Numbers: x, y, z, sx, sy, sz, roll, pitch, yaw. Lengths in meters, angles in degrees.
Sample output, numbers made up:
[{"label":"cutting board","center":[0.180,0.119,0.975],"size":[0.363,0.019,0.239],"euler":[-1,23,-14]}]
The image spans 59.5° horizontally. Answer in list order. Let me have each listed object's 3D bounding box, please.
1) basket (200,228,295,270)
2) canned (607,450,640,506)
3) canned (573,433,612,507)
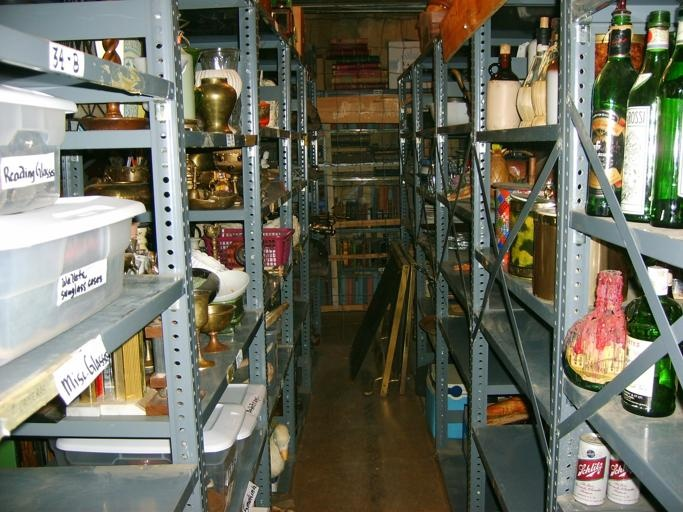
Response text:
[{"label":"basket","center":[-0.430,-0.044,2.846],"size":[0.297,0.131,0.213],"euler":[0,4,-1]},{"label":"canned","center":[0.765,0.603,1.611],"size":[0.110,0.146,0.044],"euler":[-5,13,-19]},{"label":"canned","center":[0.666,0.571,1.593],"size":[0.080,0.180,0.065],"euler":[6,13,27]}]
